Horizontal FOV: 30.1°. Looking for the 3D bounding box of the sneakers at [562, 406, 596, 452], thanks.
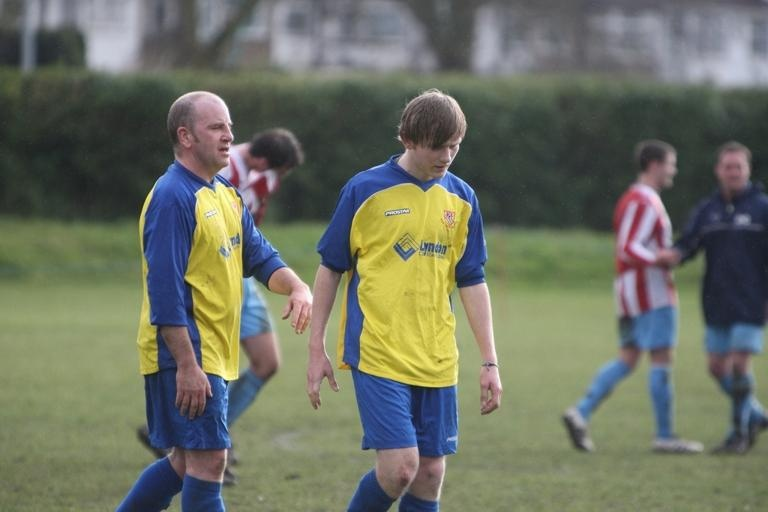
[{"bbox_3d":[1.428,1.261,10.465,0.166,0.313,0.138,-27,-9,5],"label":"sneakers"}]
